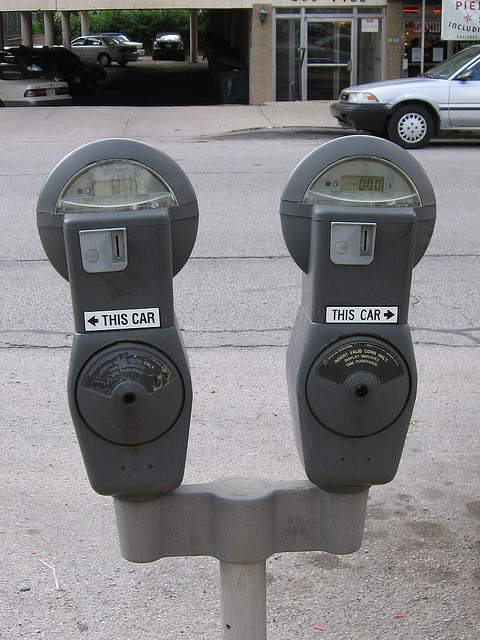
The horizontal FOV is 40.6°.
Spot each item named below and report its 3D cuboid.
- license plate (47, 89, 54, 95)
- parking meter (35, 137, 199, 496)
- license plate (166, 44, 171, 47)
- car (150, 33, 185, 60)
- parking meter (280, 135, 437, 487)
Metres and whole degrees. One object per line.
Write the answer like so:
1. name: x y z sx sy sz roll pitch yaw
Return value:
1. license plate: -4.661 -5.622 15.937 0.218 0.194 0.020 -6 32 -13
2. parking meter: -0.235 -0.015 1.261 0.331 0.646 0.373 -4 19 -3
3. license plate: -4.373 -16.791 39.631 0.275 0.146 0.072 -4 19 -4
4. car: -4.422 -17.038 40.366 1.888 1.367 4.153 0 24 -3
5. parking meter: 0.236 -0.024 1.311 0.318 0.665 0.361 0 19 9
